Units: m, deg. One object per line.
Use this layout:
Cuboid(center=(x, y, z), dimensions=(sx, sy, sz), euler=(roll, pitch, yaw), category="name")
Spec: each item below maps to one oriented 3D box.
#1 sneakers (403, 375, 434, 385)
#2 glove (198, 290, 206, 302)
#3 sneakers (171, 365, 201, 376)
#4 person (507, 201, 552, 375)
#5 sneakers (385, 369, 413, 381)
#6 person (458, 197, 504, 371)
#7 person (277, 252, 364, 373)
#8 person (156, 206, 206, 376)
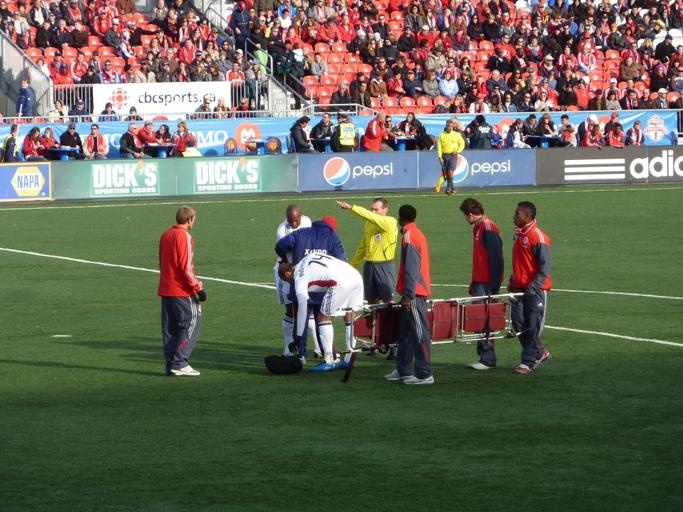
Cuboid(center=(1.215, 1.998, 23.069), dimensions=(0.459, 0.169, 0.175), euler=(2, 0, 0), category="sneakers")
Cuboid(center=(-2.365, 0.650, 23.388), dimensions=(0.158, 0.192, 0.199), euler=(5, 16, -1), category="glove")
Cuboid(center=(-2.653, 1.900, 23.580), dimensions=(0.439, 0.186, 0.184), euler=(-1, 4, -12), category="sneakers")
Cuboid(center=(3.065, 0.524, 23.509), dimensions=(0.638, 2.764, 0.718), euler=(-5, 15, -17), category="person")
Cuboid(center=(0.899, 1.965, 23.228), dimensions=(0.495, 0.212, 0.176), euler=(5, 5, 22), category="sneakers")
Cuboid(center=(2.320, 0.443, 23.860), dimensions=(0.673, 2.834, 0.916), euler=(1, 14, 5), category="person")
Cuboid(center=(-0.367, 0.958, 23.485), dimensions=(1.346, 1.993, 0.984), euler=(0, 14, 2), category="person")
Cuboid(center=(-2.707, 0.581, 23.455), dimensions=(0.731, 2.764, 0.647), euler=(-2, 14, -7), category="person")
